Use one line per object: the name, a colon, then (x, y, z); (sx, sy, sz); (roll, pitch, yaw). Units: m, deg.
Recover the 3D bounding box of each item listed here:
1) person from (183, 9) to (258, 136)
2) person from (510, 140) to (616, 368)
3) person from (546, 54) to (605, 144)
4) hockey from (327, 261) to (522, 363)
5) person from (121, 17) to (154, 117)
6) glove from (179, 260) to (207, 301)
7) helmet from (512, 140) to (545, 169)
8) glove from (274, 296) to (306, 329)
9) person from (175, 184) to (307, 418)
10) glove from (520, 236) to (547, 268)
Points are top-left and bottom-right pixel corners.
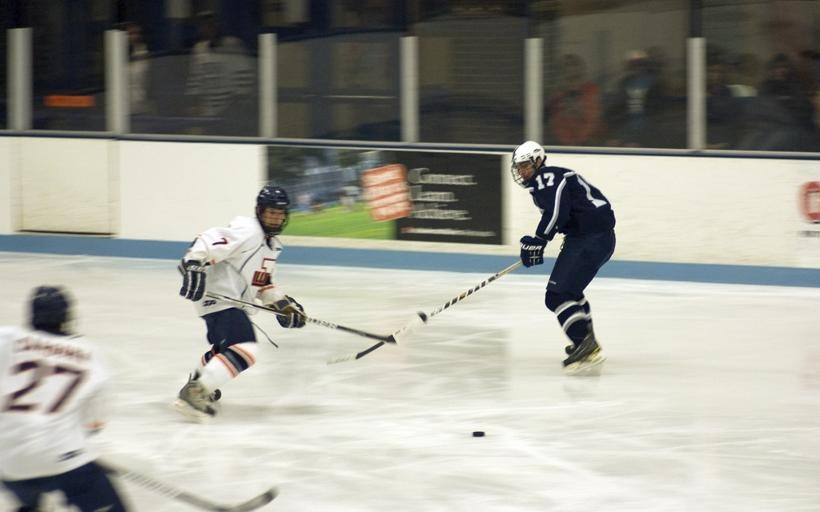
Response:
person: (-1.925, -1.900, 10.570); (0.760, 1.301, 0.291); (1, 6, 9)
person: (1.017, -0.015, 6.851); (0.687, 1.491, 0.379); (1, 6, 5)
person: (1.594, -1.492, 9.886); (0.711, 0.766, 0.273); (-2, 7, 20)
hockey: (0.127, 0.461, 8.052); (1.711, 0.165, 0.204); (-21, 2, -29)
person: (-2.828, -1.948, 10.577); (0.260, 0.958, 0.162); (2, 7, 13)
glove: (-1.272, 0.141, 6.002); (0.116, 0.199, 0.228); (4, 8, -16)
helmet: (0.805, -0.697, 6.929); (0.239, 0.167, 0.165); (3, 9, 6)
glove: (-0.773, 0.373, 6.433); (0.241, 0.084, 0.172); (31, 15, 11)
person: (-1.000, 0.182, 6.169); (0.405, 1.201, 0.720); (5, 8, 36)
glove: (0.837, -0.031, 6.916); (0.238, 0.179, 0.082); (3, 14, 14)
